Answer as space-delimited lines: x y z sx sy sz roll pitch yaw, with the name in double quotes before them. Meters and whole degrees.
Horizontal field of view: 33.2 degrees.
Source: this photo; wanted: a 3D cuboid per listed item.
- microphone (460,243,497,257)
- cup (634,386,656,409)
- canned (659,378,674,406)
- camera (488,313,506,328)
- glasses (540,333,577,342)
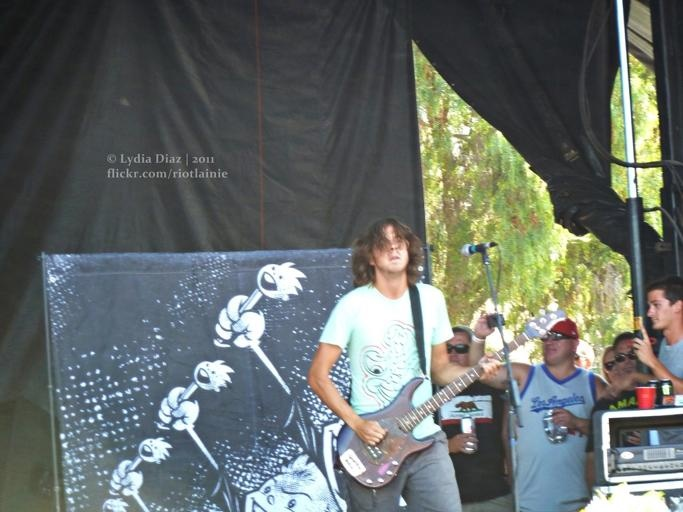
"microphone" 0.816 -0.040 6.836 0.230 0.075 0.077 -8 30 45
"cup" 1.956 0.929 7.428 0.145 0.132 0.138 4 -9 1
"canned" 2.127 0.903 7.507 0.121 0.172 0.139 -10 -11 8
"camera" 0.921 0.398 6.799 0.112 0.072 0.096 -4 -8 36
"glasses" 1.464 0.558 7.678 0.137 0.031 0.096 9 -5 -13
